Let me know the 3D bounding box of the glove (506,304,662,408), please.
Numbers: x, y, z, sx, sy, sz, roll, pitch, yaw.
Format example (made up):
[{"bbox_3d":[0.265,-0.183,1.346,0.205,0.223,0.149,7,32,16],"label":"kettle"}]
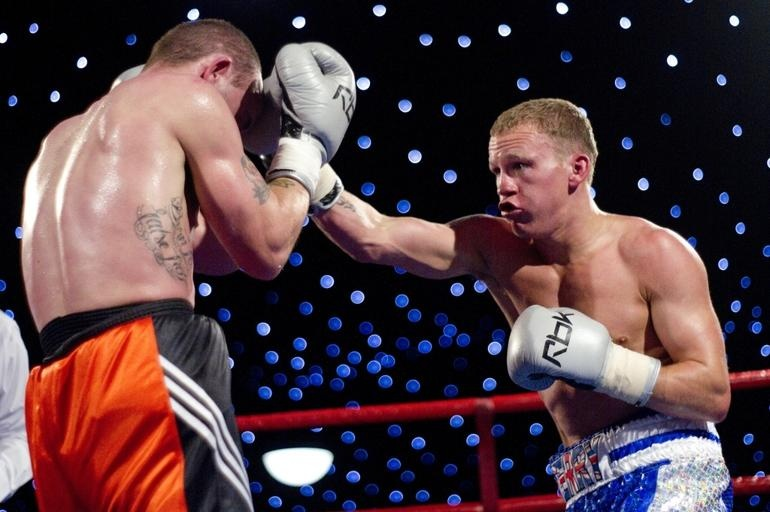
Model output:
[{"bbox_3d":[0.639,0.316,2.895,0.419,0.319,0.186,15,-1,8],"label":"glove"}]
